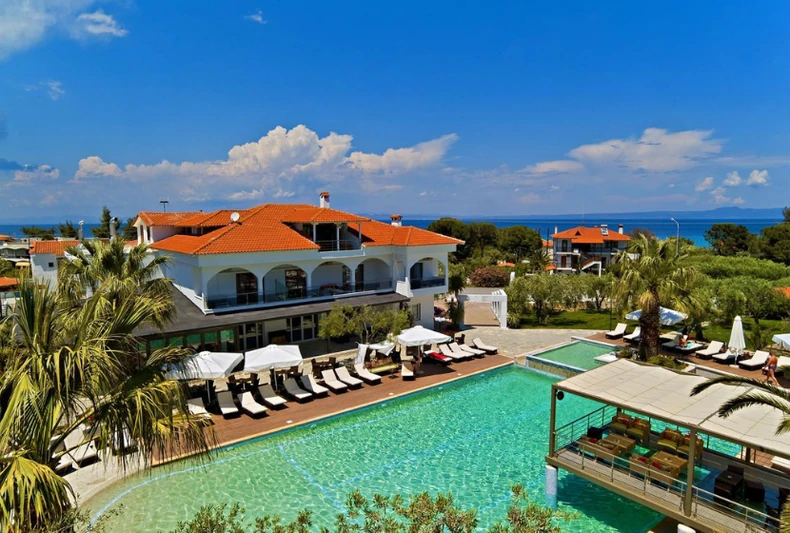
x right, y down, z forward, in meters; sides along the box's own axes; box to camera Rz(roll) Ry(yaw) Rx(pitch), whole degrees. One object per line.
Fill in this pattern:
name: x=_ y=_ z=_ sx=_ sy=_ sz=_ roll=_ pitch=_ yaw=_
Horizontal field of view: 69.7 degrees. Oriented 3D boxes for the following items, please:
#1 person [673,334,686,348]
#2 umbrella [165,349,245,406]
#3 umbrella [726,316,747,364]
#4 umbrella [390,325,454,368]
person: x=18.326 y=4.746 z=36.245 sx=0.466 sy=0.456 sz=1.350 roll=-1 pitch=0 yaw=43
umbrella: x=-8.936 y=5.103 z=26.934 sx=3.187 sy=2.320 sz=3.214 roll=-9 pitch=10 yaw=-22
umbrella: x=20.195 y=4.189 z=33.542 sx=0.823 sy=2.667 sz=2.389 roll=1 pitch=2 yaw=31
umbrella: x=1.488 y=4.791 z=33.449 sx=2.556 sy=1.664 sz=2.466 roll=-1 pitch=-1 yaw=-1
